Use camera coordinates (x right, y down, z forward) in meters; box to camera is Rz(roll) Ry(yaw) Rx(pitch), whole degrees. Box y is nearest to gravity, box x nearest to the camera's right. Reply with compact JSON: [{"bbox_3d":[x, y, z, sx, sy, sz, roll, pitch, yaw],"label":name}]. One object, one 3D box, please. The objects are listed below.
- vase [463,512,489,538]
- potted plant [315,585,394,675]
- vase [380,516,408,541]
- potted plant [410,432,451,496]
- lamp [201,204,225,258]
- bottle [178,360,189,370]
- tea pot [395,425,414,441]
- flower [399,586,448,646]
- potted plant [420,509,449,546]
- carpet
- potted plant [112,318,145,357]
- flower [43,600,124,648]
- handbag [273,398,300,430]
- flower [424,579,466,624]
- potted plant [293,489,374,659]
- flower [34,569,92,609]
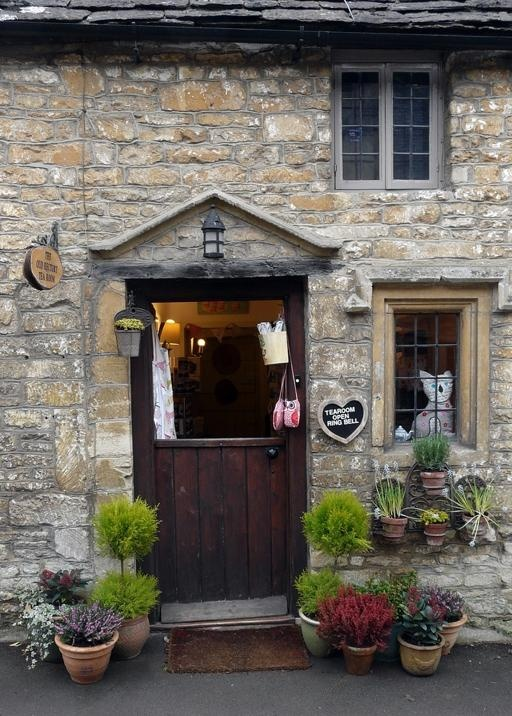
[{"bbox_3d":[1.453,1.098,6.182,0.180,0.168,0.120,-1,4,-6],"label":"vase"},{"bbox_3d":[0.577,1.637,5.779,0.525,0.537,0.495,1,-6,-10],"label":"potted plant"},{"bbox_3d":[0.884,1.084,6.035,0.164,0.134,0.163,4,-7,4],"label":"vase"},{"bbox_3d":[1.148,0.693,6.170,0.229,0.378,0.248,0,4,9],"label":"potted plant"},{"bbox_3d":[-0.272,-0.802,6.060,0.145,0.323,0.189,-1,4,-3],"label":"lamp"},{"bbox_3d":[-0.595,0.050,7.685,0.031,0.104,0.104,3,5,45],"label":"bottle"},{"bbox_3d":[1.009,0.518,6.416,0.124,0.060,0.083,3,-3,-19],"label":"tea pot"},{"bbox_3d":[1.059,1.562,5.811,0.315,0.307,0.327,5,4,32],"label":"flower"},{"bbox_3d":[1.146,1.091,6.095,0.170,0.237,0.153,0,4,16],"label":"potted plant"},{"bbox_3d":[-0.114,1.844,6.008,0.884,0.106,0.506,-1,4,-1],"label":"carpet"},{"bbox_3d":[-0.811,-0.137,6.023,0.181,0.236,0.168,-2,4,-11],"label":"potted plant"},{"bbox_3d":[-1.034,1.578,5.690,0.463,0.207,0.376,0,4,13],"label":"flower"},{"bbox_3d":[0.212,0.370,6.241,0.215,0.264,0.146,1,-7,5],"label":"handbag"},{"bbox_3d":[1.209,1.529,5.923,0.227,0.211,0.218,2,-5,-9],"label":"flower"},{"bbox_3d":[0.545,1.366,5.937,0.524,1.035,0.531,-4,-18,30],"label":"potted plant"},{"bbox_3d":[-1.208,1.432,5.900,0.263,0.160,0.266,4,-14,4],"label":"flower"}]
